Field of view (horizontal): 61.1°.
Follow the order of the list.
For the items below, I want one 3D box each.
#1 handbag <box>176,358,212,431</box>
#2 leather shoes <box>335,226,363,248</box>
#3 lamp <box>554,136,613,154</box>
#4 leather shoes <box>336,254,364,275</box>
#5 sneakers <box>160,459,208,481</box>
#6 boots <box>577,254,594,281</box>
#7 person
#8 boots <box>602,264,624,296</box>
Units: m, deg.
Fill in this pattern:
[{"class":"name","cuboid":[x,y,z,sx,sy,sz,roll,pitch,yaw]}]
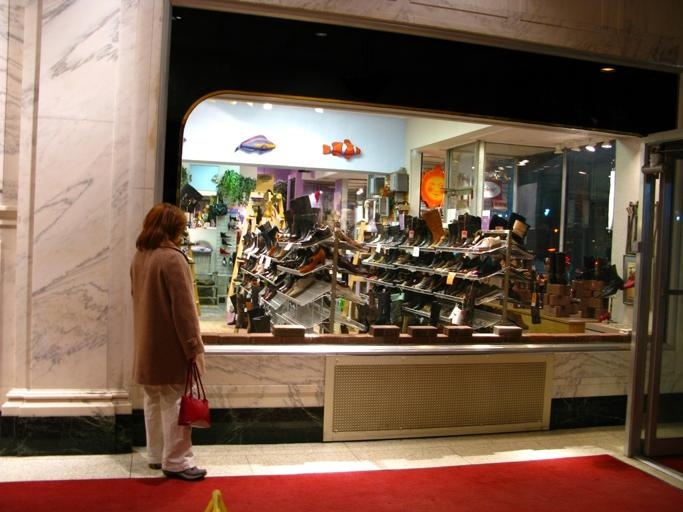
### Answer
[{"class":"handbag","cuboid":[-1.122,1.021,4.394,0.213,0.508,0.656,0,4,-13]},{"class":"leather shoes","cuboid":[0.045,-0.205,6.259,0.305,0.244,0.421,1,4,-7]},{"class":"lamp","cuboid":[2.810,-1.306,6.752,0.344,0.078,0.326,1,-4,-21]},{"class":"leather shoes","cuboid":[0.088,0.094,6.222,0.350,0.208,0.173,0,4,-18]},{"class":"sneakers","cuboid":[-1.167,1.623,4.385,0.367,0.141,0.123,1,-3,-3]},{"class":"boots","cuboid":[2.855,0.142,6.764,0.200,0.259,0.188,4,4,34]},{"class":"person","cuboid":[-1.316,0.638,4.311,0.618,2.058,0.381,4,5,35]},{"class":"boots","cuboid":[3.002,0.278,6.472,0.188,0.343,0.288,1,4,1]}]
